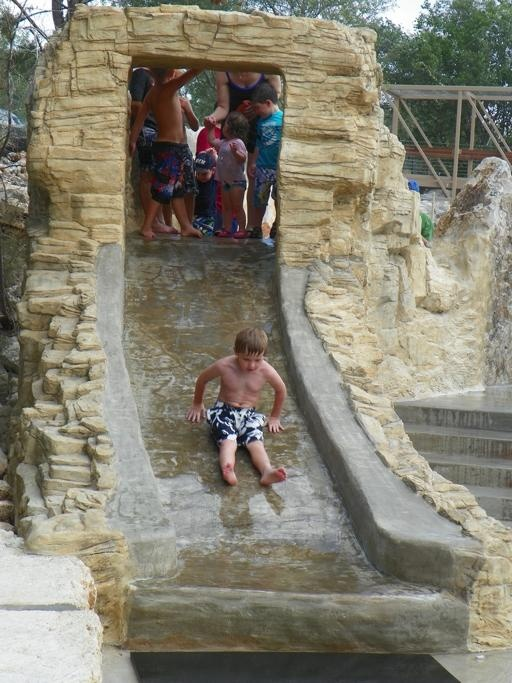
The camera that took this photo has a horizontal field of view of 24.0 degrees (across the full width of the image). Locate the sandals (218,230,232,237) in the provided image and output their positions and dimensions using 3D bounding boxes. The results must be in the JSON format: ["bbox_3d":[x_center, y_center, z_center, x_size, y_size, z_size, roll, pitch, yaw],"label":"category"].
[{"bbox_3d":[-0.229,-0.807,8.997,0.046,0.048,0.132,3,1,45],"label":"sandals"}]

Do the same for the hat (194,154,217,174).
[{"bbox_3d":[-0.436,-1.549,10.466,0.204,0.188,0.251,-3,-6,1],"label":"hat"}]

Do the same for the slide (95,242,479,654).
[{"bbox_3d":[0.001,0.216,6.769,1.669,0.530,4.155,4,27,-6],"label":"slide"}]

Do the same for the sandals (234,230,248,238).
[{"bbox_3d":[-0.111,-0.801,8.979,0.098,0.062,0.240,-1,4,2],"label":"sandals"}]

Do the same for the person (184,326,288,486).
[{"bbox_3d":[0.031,0.294,5.970,0.509,0.544,0.760,4,32,-16],"label":"person"}]

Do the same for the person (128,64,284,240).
[{"bbox_3d":[-0.321,-1.345,8.974,1.098,1.346,0.400,0,5,-6],"label":"person"}]
